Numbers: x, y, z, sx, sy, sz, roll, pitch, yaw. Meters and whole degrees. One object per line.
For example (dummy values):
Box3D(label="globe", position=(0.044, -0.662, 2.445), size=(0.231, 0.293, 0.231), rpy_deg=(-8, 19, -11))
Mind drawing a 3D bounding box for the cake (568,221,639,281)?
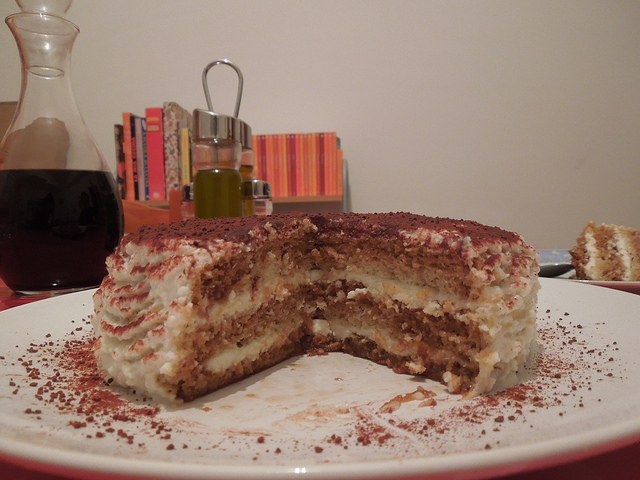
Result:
Box3D(label="cake", position=(1.592, 0.068, 3.690), size=(0.361, 0.316, 0.223), rpy_deg=(2, 4, 17))

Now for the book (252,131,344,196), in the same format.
Box3D(label="book", position=(-0.333, -0.603, 5.487), size=(0.869, 0.537, 0.462), rpy_deg=(-7, 12, -32))

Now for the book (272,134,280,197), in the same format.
Box3D(label="book", position=(-0.368, -0.596, 5.375), size=(0.061, 0.485, 0.045), rpy_deg=(1, 5, -2))

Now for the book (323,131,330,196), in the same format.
Box3D(label="book", position=(0.047, -0.594, 5.308), size=(0.049, 0.490, 0.023), rpy_deg=(1, 5, -1))

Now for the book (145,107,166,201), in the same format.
Box3D(label="book", position=(-1.318, -0.667, 5.265), size=(0.146, 0.720, 0.093), rpy_deg=(0, 5, -7))

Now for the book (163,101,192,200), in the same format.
Box3D(label="book", position=(-1.194, -0.696, 5.298), size=(0.132, 0.756, 0.206), rpy_deg=(0, 5, -7))
